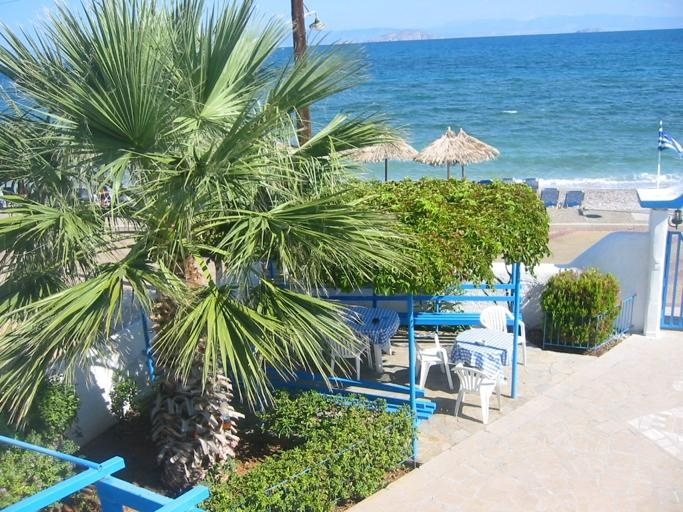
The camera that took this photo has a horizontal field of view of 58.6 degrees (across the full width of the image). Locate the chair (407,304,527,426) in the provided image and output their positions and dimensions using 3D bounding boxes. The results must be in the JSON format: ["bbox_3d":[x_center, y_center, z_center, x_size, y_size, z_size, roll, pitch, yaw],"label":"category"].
[{"bbox_3d":[2.571,1.782,11.122,0.975,1.189,3.355,3,10,21],"label":"chair"}]

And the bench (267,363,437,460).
[{"bbox_3d":[0.167,2.346,10.293,2.980,0.922,1.679,3,11,23],"label":"bench"}]

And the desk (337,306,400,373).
[{"bbox_3d":[0.631,1.637,11.414,1.213,0.703,1.274,-6,20,-8],"label":"desk"}]
